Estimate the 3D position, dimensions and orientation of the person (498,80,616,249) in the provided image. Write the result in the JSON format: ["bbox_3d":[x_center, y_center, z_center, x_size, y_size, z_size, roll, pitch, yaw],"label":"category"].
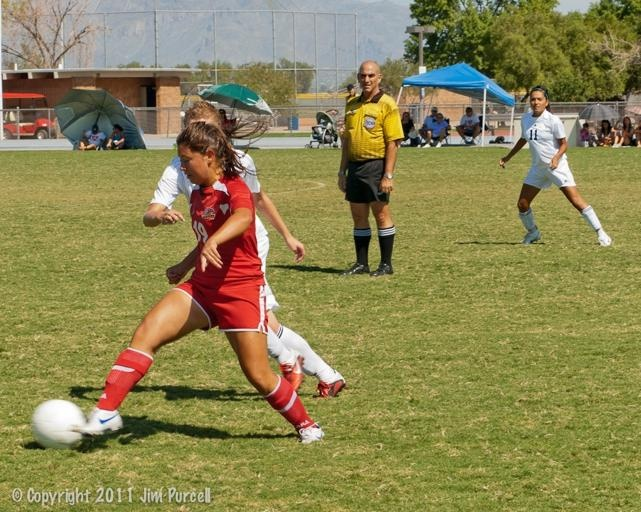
[{"bbox_3d":[2.765,-1.059,12.355,0.971,1.893,0.697,2,9,14],"label":"person"}]

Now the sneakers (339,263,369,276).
[{"bbox_3d":[0.341,0.150,11.365,0.363,0.129,0.113,-1,4,-16],"label":"sneakers"}]

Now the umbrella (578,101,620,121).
[{"bbox_3d":[9.475,-4.868,35.670,1.279,0.425,1.188,2,12,14],"label":"umbrella"}]

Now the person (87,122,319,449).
[{"bbox_3d":[-0.742,0.206,6.996,1.497,2.202,0.611,-1,9,-2],"label":"person"}]

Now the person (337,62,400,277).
[{"bbox_3d":[0.521,-0.927,11.145,0.508,2.269,0.782,-6,11,-34],"label":"person"}]

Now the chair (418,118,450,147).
[{"bbox_3d":[3.374,-3.724,31.095,0.764,0.876,1.282,1,8,10],"label":"chair"}]

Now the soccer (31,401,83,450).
[{"bbox_3d":[-1.735,1.135,7.112,0.420,0.304,0.317,-7,-28,-4],"label":"soccer"}]

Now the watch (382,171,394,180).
[{"bbox_3d":[0.706,-0.846,10.904,0.095,0.059,0.103,1,-4,40],"label":"watch"}]

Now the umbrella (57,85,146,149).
[{"bbox_3d":[-6.421,-4.565,31.268,2.342,2.074,0.764,13,50,17],"label":"umbrella"}]

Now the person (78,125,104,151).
[{"bbox_3d":[-6.596,-3.361,30.395,0.625,0.400,0.772,11,48,0],"label":"person"}]

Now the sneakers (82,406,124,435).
[{"bbox_3d":[-1.438,1.098,6.999,0.377,0.156,0.124,-2,5,11],"label":"sneakers"}]
